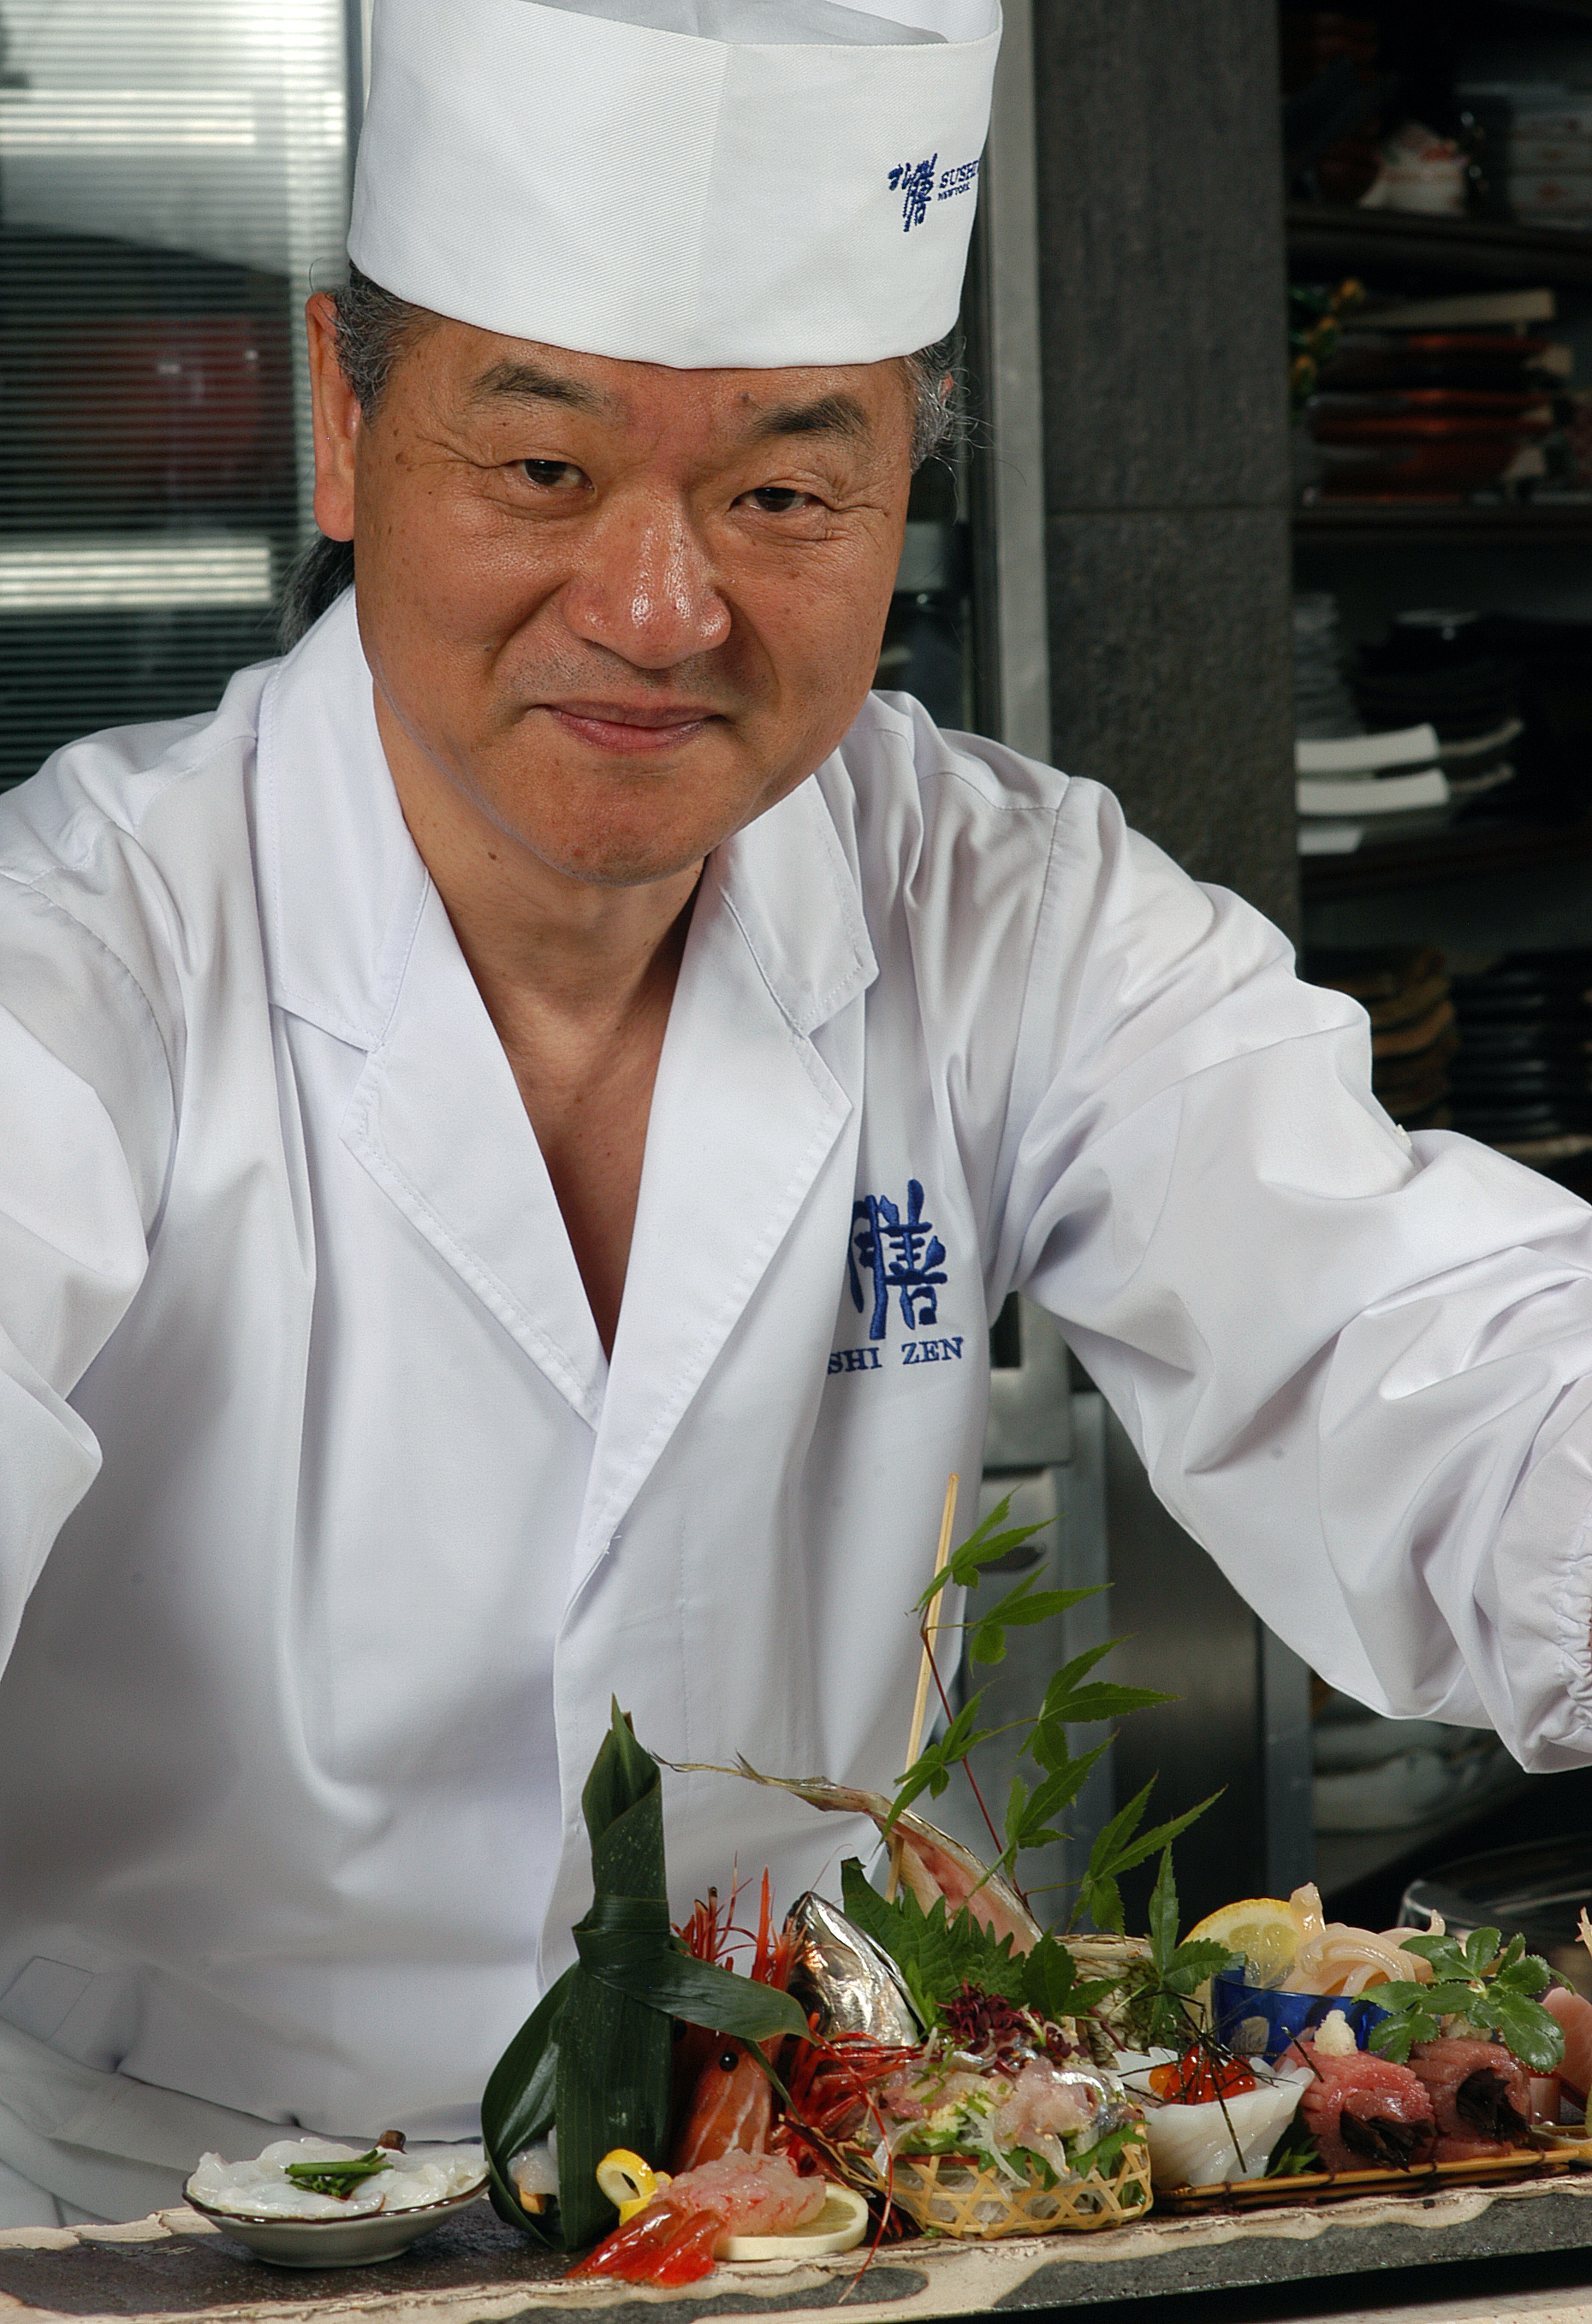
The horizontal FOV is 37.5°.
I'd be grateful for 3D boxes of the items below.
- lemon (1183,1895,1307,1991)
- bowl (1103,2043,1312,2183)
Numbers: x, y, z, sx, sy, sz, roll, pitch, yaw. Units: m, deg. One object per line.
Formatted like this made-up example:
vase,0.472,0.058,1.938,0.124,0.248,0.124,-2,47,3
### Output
lemon,0.207,0.350,1.063,0.046,0.017,0.055,9,20,25
bowl,0.155,0.352,0.867,0.048,0.027,0.044,0,-4,0
